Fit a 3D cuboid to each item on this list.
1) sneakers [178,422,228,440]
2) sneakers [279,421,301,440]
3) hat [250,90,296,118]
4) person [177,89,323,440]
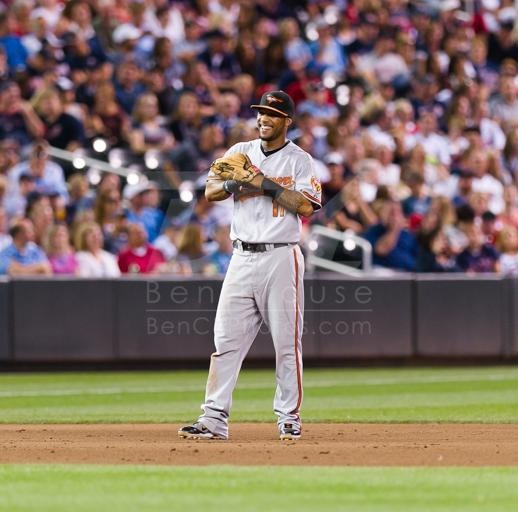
[{"bbox_3d":[-0.355,1.038,6.666,0.304,0.115,0.099,8,-8,-6],"label":"sneakers"},{"bbox_3d":[0.182,1.036,6.634,0.138,0.101,0.094,3,-7,-12],"label":"sneakers"},{"bbox_3d":[0.097,-0.909,6.774,0.159,0.126,0.234,20,-3,39],"label":"hat"},{"bbox_3d":[-0.019,0.046,6.713,0.732,2.085,0.339,2,-7,2],"label":"person"}]
